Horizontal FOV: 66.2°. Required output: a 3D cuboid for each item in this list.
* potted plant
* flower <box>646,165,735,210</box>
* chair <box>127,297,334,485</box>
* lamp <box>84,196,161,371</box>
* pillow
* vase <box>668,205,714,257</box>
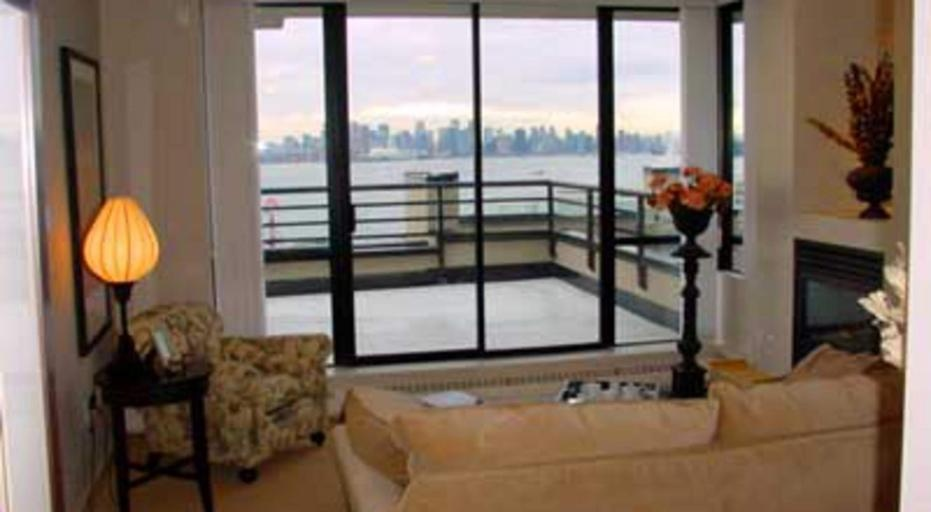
[{"bbox_3d":[1.087,-0.331,1.968,0.263,0.457,0.111,-5,6,-20],"label":"potted plant"},{"bbox_3d":[0.569,-0.171,1.820,0.232,0.112,0.050,-4,6,-14],"label":"flower"},{"bbox_3d":[-0.576,0.337,2.023,0.562,0.457,0.435,-2,4,-9],"label":"chair"},{"bbox_3d":[-0.877,0.063,1.831,0.178,0.427,0.077,-1,6,20],"label":"lamp"},{"bbox_3d":[-0.208,0.467,1.856,0.204,0.283,0.067,-6,6,-24],"label":"pillow"},{"bbox_3d":[0.585,-0.067,1.852,0.145,0.130,0.141,3,-1,-20],"label":"vase"}]
